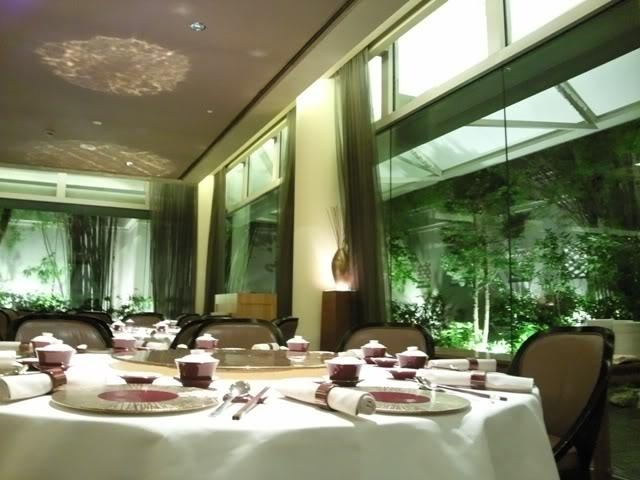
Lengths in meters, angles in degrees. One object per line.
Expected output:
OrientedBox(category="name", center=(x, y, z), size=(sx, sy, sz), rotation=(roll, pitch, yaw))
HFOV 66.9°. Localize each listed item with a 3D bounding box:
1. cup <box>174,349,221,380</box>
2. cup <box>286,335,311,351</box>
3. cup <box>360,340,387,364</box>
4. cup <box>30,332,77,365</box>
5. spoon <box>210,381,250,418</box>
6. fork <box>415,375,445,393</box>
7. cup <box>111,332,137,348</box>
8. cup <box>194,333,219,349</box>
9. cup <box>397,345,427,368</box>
OrientedBox(category="cup", center=(-0.332, 0.335, 1.299), size=(0.101, 0.062, 0.101), rotation=(-1, -16, 0))
OrientedBox(category="cup", center=(-0.086, 0.457, 2.130), size=(0.099, 0.063, 0.094), rotation=(4, -20, 2))
OrientedBox(category="cup", center=(0.205, 0.436, 1.893), size=(0.089, 0.060, 0.080), rotation=(22, -27, -31))
OrientedBox(category="cup", center=(-0.833, 0.336, 1.515), size=(0.142, 0.087, 0.130), rotation=(2, -13, 0))
OrientedBox(category="spoon", center=(-0.200, 0.355, 1.074), size=(0.064, 0.026, 0.165), rotation=(5, 1, 6))
OrientedBox(category="fork", center=(0.300, 0.400, 1.354), size=(0.027, 0.017, 0.120), rotation=(-4, -2, -11))
OrientedBox(category="cup", center=(-0.888, 0.450, 2.203), size=(0.108, 0.042, 0.099), rotation=(0, -16, 0))
OrientedBox(category="cup", center=(-0.476, 0.409, 2.041), size=(0.107, 0.065, 0.095), rotation=(1, -11, -2))
OrientedBox(category="cup", center=(0.310, 0.386, 1.626), size=(0.080, 0.054, 0.075), rotation=(4, -26, 2))
